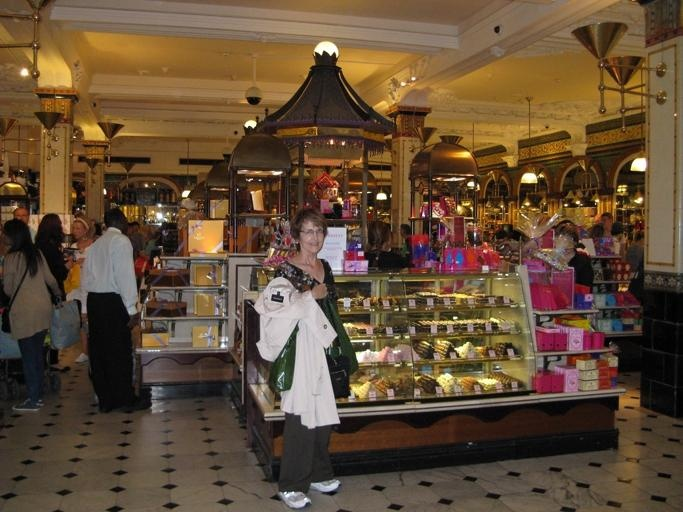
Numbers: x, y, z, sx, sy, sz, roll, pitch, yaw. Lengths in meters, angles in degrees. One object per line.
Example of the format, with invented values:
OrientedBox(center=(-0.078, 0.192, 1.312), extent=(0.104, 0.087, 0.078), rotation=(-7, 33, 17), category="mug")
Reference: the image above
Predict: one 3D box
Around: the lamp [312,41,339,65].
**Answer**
OrientedBox(center=(-0.171, -2.287, 6.744), extent=(0.361, 0.273, 0.345), rotation=(-2, 7, -7), category="lamp")

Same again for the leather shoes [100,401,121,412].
OrientedBox(center=(-2.626, 1.700, 6.665), extent=(0.206, 0.128, 0.157), rotation=(1, 3, 0), category="leather shoes")

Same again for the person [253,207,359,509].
OrientedBox(center=(-0.287, 0.831, 4.771), extent=(0.805, 2.405, 0.439), rotation=(-1, 7, -8), category="person")

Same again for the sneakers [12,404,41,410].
OrientedBox(center=(-3.555, 1.725, 6.637), extent=(0.294, 0.098, 0.104), rotation=(4, -4, -5), category="sneakers")

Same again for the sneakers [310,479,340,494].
OrientedBox(center=(-0.128, 1.947, 4.968), extent=(0.270, 0.105, 0.102), rotation=(3, -3, 0), category="sneakers")

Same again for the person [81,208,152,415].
OrientedBox(center=(-2.548, 0.715, 6.645), extent=(0.620, 2.148, 0.438), rotation=(-2, 7, -18), category="person")

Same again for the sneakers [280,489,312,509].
OrientedBox(center=(-0.356, 1.972, 4.747), extent=(0.227, 0.082, 0.132), rotation=(-3, -5, 42), category="sneakers")
